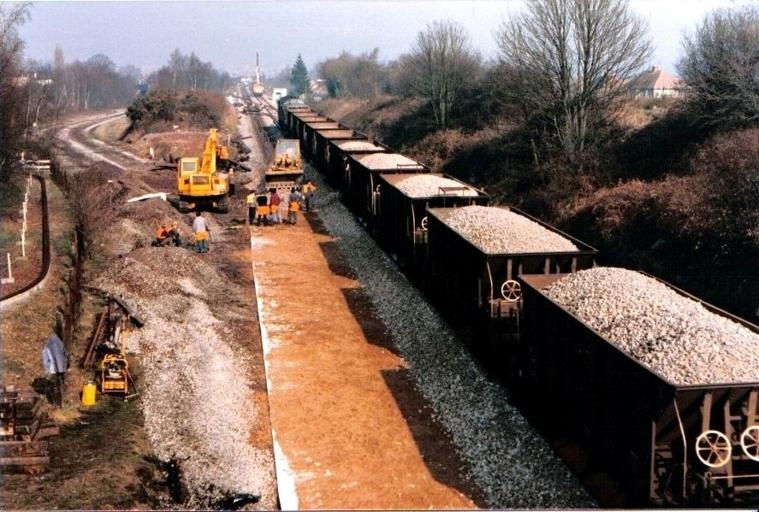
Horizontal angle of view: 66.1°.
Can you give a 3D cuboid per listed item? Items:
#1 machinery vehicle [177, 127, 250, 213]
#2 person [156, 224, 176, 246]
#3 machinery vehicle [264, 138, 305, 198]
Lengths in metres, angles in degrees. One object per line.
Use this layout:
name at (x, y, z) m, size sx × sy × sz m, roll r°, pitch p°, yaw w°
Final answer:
machinery vehicle at (-8.807, -4.816, 30.788) m, size 3.615 × 3.376 × 6.294 m, roll -1°, pitch 19°, yaw -4°
person at (-8.805, -0.838, 23.990) m, size 0.722 × 1.034 × 1.352 m, roll -7°, pitch 15°, yaw -20°
machinery vehicle at (-5.625, -5.731, 35.041) m, size 1.584 × 2.340 × 4.650 m, roll 3°, pitch 26°, yaw -4°
